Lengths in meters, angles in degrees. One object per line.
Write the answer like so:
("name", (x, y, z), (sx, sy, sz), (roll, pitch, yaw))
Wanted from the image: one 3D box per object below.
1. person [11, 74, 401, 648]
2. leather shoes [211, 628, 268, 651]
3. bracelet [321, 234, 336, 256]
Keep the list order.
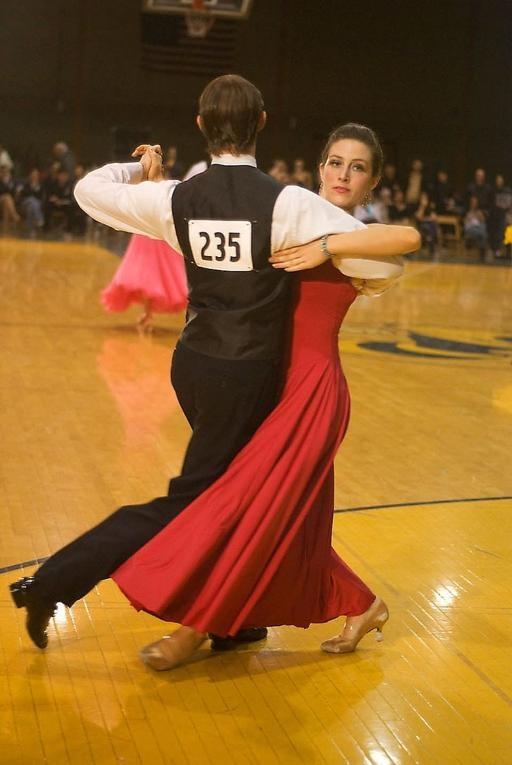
("person", (-0.163, -0.072, 1.571), (1.002, 1.138, 0.645), (-13, 28, -33))
("leather shoes", (-0.041, 0.631, 1.647), (0.136, 0.038, 0.076), (-4, 4, -29))
("bracelet", (0.138, -0.263, 1.285), (0.019, 0.038, 0.027), (10, 10, 37))
